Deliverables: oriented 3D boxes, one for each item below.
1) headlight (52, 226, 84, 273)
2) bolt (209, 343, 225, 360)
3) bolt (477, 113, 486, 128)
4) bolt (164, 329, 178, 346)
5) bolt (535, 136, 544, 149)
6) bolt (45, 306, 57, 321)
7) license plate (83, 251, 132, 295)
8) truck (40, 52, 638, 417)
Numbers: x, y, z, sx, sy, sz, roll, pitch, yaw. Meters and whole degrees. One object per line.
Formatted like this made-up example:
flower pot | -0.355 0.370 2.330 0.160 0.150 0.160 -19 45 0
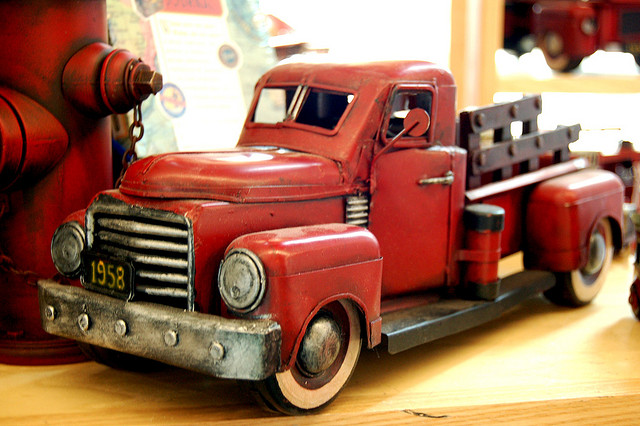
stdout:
headlight | -1.351 0.189 3.535 0.210 0.239 0.070 8 17 32
bolt | -0.479 0.643 3.066 0.063 0.071 0.021 4 3 23
bolt | 1.041 -0.601 4.216 0.075 0.089 0.013 -12 18 -35
bolt | -0.711 0.597 3.161 0.074 0.076 0.021 6 16 26
bolt | 1.538 -0.499 4.597 0.048 0.093 0.079 2 -3 5
bolt | -1.432 0.532 3.514 0.066 0.074 0.016 0 2 30
license plate | -1.096 0.309 3.411 0.332 0.195 0.040 9 12 27
truck | 0.378 0.073 4.290 3.683 1.692 1.914 -6 6 -42
